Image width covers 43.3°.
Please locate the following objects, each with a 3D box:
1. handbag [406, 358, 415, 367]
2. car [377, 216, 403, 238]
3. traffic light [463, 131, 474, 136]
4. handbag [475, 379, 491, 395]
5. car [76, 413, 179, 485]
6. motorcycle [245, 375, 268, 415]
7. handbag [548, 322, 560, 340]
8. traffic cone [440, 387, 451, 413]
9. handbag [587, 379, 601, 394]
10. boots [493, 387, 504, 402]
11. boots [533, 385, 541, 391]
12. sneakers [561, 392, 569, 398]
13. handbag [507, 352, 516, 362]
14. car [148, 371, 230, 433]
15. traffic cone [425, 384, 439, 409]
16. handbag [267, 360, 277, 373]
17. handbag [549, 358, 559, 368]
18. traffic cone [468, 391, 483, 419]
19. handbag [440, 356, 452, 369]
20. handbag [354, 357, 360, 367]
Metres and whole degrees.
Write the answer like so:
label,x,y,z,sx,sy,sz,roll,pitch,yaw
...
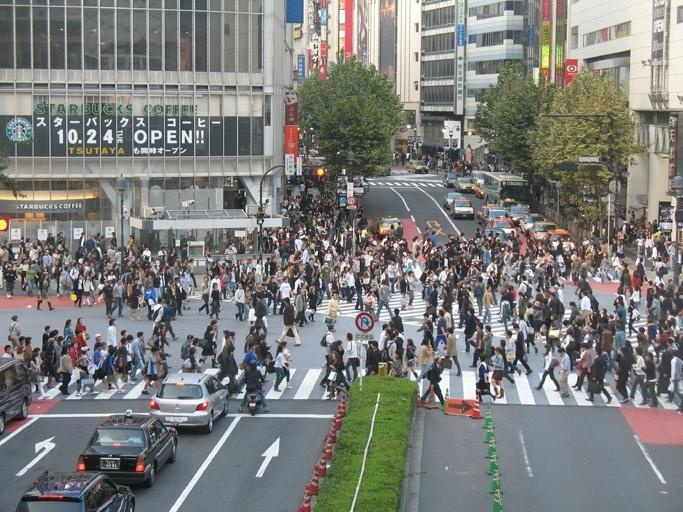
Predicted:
label,x,y,z,sx,sy,sz,roll,pitch,yaw
handbag,2.547,3.937,31.627,0.352,0.375,0.268,-4,7,2
car,3.478,-2.052,63.111,1.528,1.807,3.751,-1,-1,0
traffic light,19.265,-18.467,130.131,1.034,0.370,1.166,1,-5,0
handbag,4.939,4.559,29.966,0.442,0.629,0.491,6,17,22
car,-5.541,5.105,23.772,1.205,1.218,3.003,5,16,4
motorcycle,-2.936,4.644,29.032,0.514,0.964,1.475,1,13,3
handbag,8.576,3.061,34.813,0.458,0.692,0.657,-2,7,15
traffic cone,3.613,4.984,29.886,0.511,0.894,0.581,-1,-2,1
handbag,8.853,4.556,30.173,0.425,0.585,0.409,-2,7,16
boots,5.575,4.770,30.491,0.399,0.534,0.842,-2,7,10
boots,7.117,4.806,31.270,0.232,0.202,0.080,13,13,41
sneakers,7.910,4.950,30.553,0.305,0.170,0.125,2,4,-7
handbag,6.189,3.682,31.494,0.271,0.375,0.388,13,32,23
car,-4.560,4.566,27.429,1.240,1.207,2.363,2,9,8
traffic cone,3.127,4.784,29.814,0.457,0.878,0.720,-3,7,4
handbag,-2.530,4.050,31.185,0.285,0.525,0.806,-4,7,-3
handbag,7.574,3.812,30.568,0.290,0.389,0.584,-1,8,22
traffic cone,4.474,5.163,28.870,0.427,0.721,0.484,0,-2,1
handbag,3.785,3.901,31.547,0.441,0.391,0.371,-5,7,-7
handbag,0.571,3.868,31.333,0.237,0.477,0.229,2,0,1
